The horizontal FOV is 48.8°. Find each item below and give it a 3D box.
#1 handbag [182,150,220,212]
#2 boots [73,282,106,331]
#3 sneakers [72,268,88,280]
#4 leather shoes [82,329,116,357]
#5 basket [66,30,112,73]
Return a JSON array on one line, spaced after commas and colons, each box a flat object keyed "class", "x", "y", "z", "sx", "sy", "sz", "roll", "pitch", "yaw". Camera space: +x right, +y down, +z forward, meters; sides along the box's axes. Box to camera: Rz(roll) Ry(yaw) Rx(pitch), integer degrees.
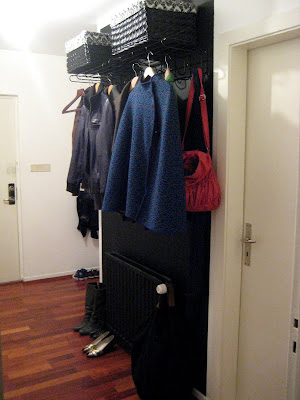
[{"class": "handbag", "x": 0.236, "y": -0.091, "z": 1.501, "sx": 0.169, "sy": 0.280, "sz": 0.116, "roll": 0, "pitch": 3, "yaw": 8}, {"class": "boots", "x": -0.493, "y": 0.887, "z": 2.679, "sx": 0.222, "sy": 0.376, "sz": 0.173, "roll": 2, "pitch": 3, "yaw": -37}, {"class": "sneakers", "x": -0.863, "y": 0.912, "z": 4.094, "sx": 0.154, "sy": 0.135, "sz": 0.109, "roll": 4, "pitch": 1, "yaw": 17}, {"class": "leather shoes", "x": -0.367, "y": 1.025, "z": 2.375, "sx": 0.148, "sy": 0.061, "sz": 0.110, "roll": -15, "pitch": -4, "yaw": -43}, {"class": "basket", "x": -0.421, "y": -0.957, "z": 2.218, "sx": 0.281, "sy": 0.218, "sz": 0.295, "roll": 1, "pitch": 11, "yaw": 32}]
